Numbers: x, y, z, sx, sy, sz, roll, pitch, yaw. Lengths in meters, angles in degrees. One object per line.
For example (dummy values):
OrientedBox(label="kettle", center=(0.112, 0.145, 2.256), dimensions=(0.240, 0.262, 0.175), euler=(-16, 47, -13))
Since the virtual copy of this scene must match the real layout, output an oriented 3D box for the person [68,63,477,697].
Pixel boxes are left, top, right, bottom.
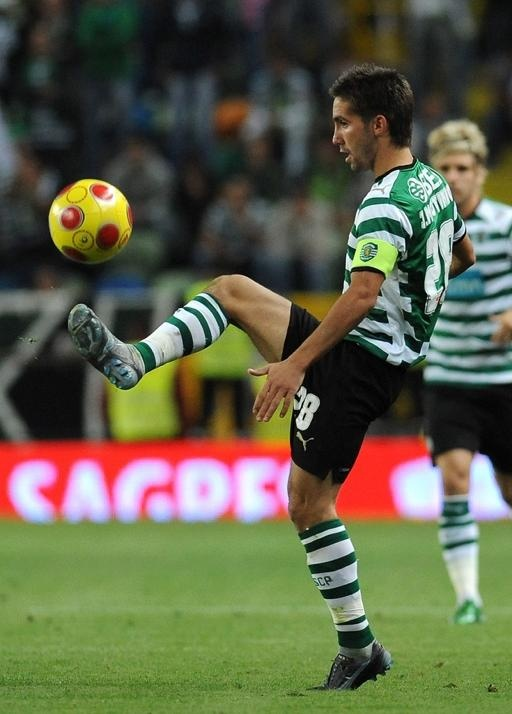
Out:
OrientedBox(label="person", center=(0.117, 0.047, 2.699), dimensions=(0.988, 1.868, 0.571), euler=(0, -5, 10))
